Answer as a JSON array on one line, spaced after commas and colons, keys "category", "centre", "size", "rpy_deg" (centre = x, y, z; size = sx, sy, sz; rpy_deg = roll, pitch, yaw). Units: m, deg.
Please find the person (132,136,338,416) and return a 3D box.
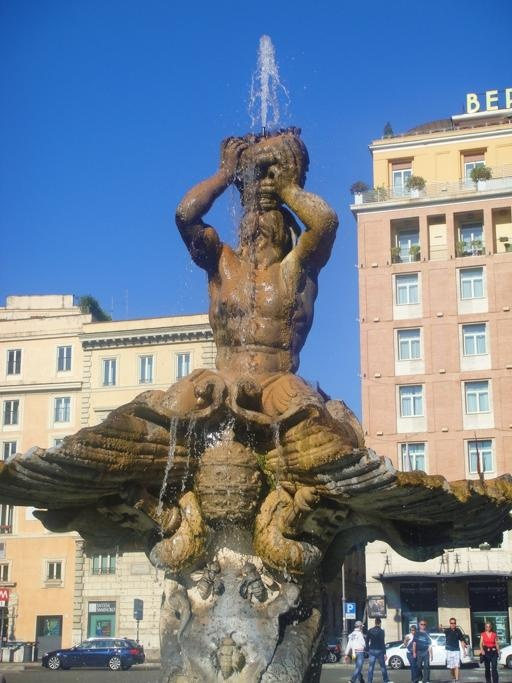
[{"category": "person", "centre": [0.002, -0.756, 7.524], "size": [1.250, 2.212, 0.793], "rpy_deg": [8, -1, 2]}]
